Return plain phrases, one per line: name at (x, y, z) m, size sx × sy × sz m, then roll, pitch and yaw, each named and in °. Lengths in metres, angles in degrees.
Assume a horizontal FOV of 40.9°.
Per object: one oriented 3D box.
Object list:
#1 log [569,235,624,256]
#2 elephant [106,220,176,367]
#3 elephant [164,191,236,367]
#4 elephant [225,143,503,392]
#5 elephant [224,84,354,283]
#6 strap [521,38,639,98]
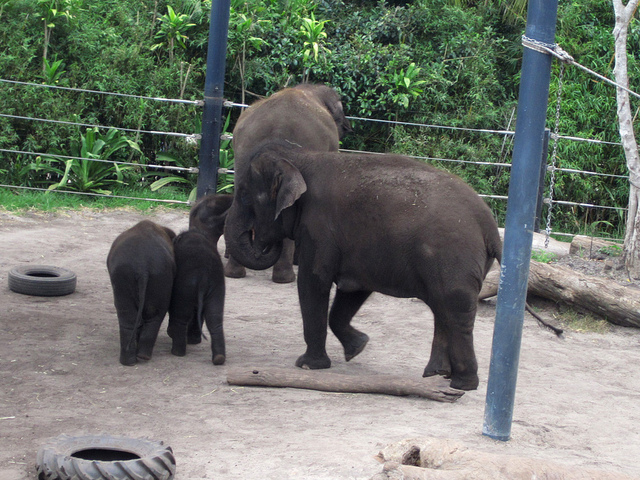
log at (3.119, 0.064, 9.718) m, size 0.550 × 0.185 × 0.511 m, roll 5°, pitch 7°, yaw 15°
elephant at (-1.340, 0.336, 6.523) m, size 0.654 × 1.031 × 1.426 m, roll 1°, pitch 3°, yaw -12°
elephant at (-0.941, 0.175, 6.583) m, size 0.594 × 0.932 × 1.230 m, roll 1°, pitch 28°, yaw -10°
elephant at (0.287, 0.179, 6.140) m, size 2.287 × 1.549 × 0.968 m, roll 10°, pitch 15°, yaw 26°
elephant at (-0.050, -0.712, 7.307) m, size 0.951 × 1.501 × 2.017 m, roll 4°, pitch 13°, yaw 15°
strap at (1.499, -1.051, 4.885) m, size 0.787 × 0.064 × 0.304 m, roll 29°, pitch -7°, yaw 7°
